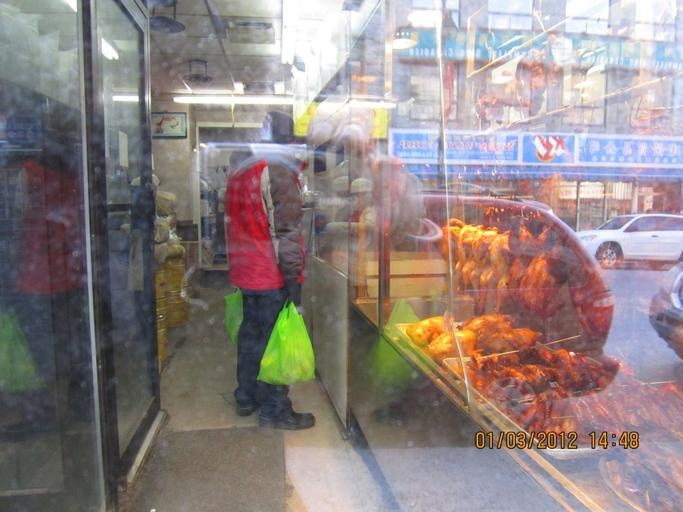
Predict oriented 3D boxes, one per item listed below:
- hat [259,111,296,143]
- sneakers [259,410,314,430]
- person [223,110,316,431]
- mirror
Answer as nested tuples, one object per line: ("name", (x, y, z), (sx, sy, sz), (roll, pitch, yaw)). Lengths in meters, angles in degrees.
("hat", (-0.367, -0.746, 3.303), (0.200, 0.244, 0.145), (-1, 6, -11))
("sneakers", (-0.325, 0.959, 3.467), (0.333, 0.147, 0.126), (0, -1, -7))
("person", (-0.433, 0.090, 3.380), (0.565, 1.858, 0.372), (8, 11, 38))
("mirror", (-1.964, -1.108, 10.088), (1.477, 2.319, 1.585), (1, 4, 26))
